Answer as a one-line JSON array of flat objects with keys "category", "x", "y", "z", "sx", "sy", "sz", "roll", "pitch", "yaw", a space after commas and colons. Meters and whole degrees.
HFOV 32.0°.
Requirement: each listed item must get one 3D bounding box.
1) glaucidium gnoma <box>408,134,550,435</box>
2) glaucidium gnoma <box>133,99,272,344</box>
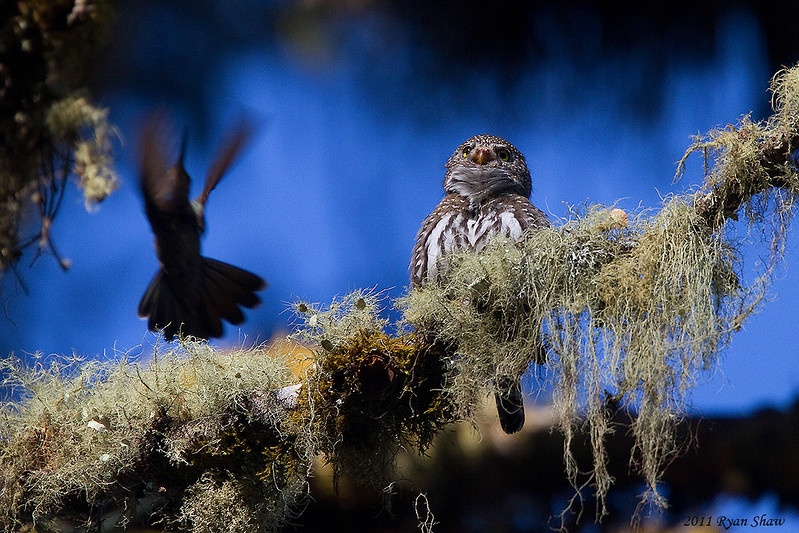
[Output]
[{"category": "glaucidium gnoma", "x": 0.256, "y": 0.120, "z": 4.936, "sx": 0.531, "sy": 0.942, "sz": 0.968, "roll": 2, "pitch": -54, "yaw": 3}, {"category": "glaucidium gnoma", "x": -0.773, "y": -0.170, "z": 5.150, "sx": 0.649, "sy": 0.864, "sz": 0.264, "roll": 0, "pitch": 4, "yaw": -23}]
